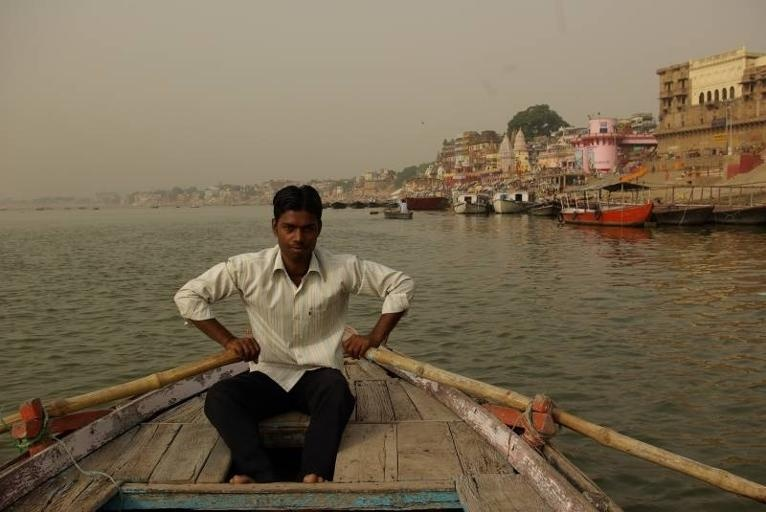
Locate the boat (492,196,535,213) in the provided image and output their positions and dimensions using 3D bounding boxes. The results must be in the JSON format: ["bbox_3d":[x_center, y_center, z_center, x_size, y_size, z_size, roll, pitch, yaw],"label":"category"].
[{"bbox_3d":[16.152,-6.200,66.649,2.236,1.367,3.996,9,13,31],"label":"boat"}]

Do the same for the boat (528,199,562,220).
[{"bbox_3d":[17.835,-5.159,59.943,1.995,1.171,5.624,-1,4,-1],"label":"boat"}]

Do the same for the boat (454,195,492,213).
[{"bbox_3d":[11.783,-6.791,70.783,4.428,2.789,4.219,-3,5,8],"label":"boat"}]
